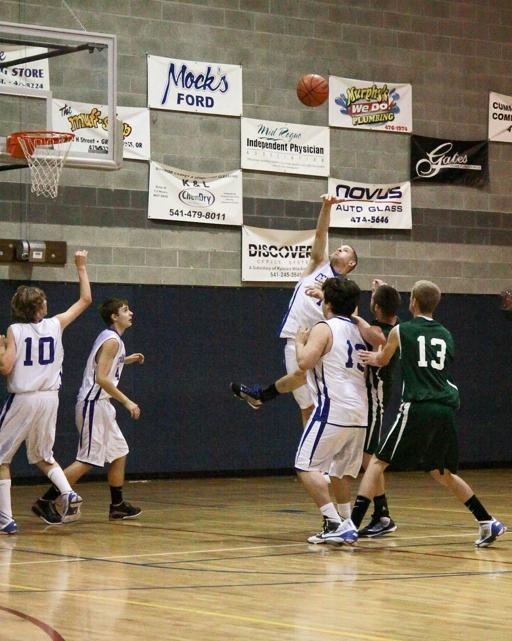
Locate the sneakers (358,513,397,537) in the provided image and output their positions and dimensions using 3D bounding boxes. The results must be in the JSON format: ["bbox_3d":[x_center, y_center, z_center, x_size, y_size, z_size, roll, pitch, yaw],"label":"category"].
[{"bbox_3d":[0.758,1.277,5.093,0.284,0.117,0.094,-3,-8,-30],"label":"sneakers"}]

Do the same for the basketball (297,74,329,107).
[{"bbox_3d":[0.629,-2.544,9.048,0.332,0.367,0.278,3,7,15],"label":"basketball"}]

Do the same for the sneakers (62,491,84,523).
[{"bbox_3d":[-1.197,1.224,5.290,0.107,0.243,0.112,-2,41,-21],"label":"sneakers"}]

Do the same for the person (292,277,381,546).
[{"bbox_3d":[0.407,0.539,4.482,0.381,1.535,0.517,1,7,7],"label":"person"}]

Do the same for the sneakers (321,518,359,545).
[{"bbox_3d":[0.438,1.158,4.470,0.099,0.109,0.255,3,-7,-24],"label":"sneakers"}]

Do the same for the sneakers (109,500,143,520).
[{"bbox_3d":[-0.979,1.411,6.077,0.277,0.113,0.103,-2,2,-30],"label":"sneakers"}]

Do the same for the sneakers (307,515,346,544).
[{"bbox_3d":[0.399,1.185,4.562,0.112,0.147,0.320,13,-15,-23],"label":"sneakers"}]
